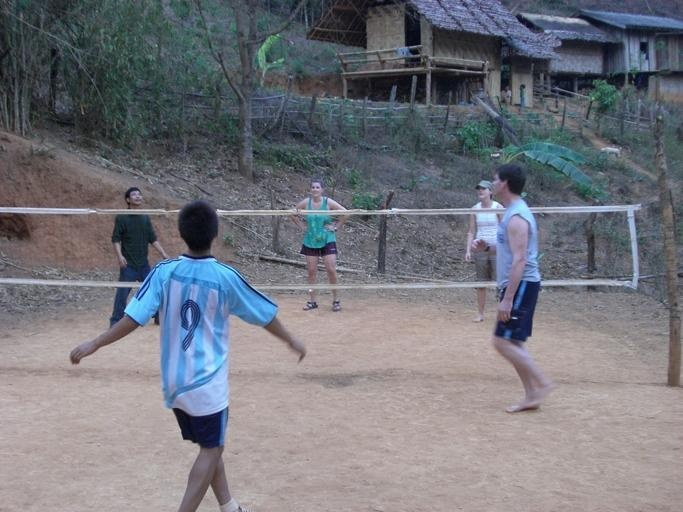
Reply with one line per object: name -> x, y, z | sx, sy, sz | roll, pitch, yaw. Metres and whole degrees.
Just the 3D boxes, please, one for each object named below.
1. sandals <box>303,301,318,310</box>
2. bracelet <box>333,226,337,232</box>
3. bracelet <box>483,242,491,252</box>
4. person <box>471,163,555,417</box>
sandals -> -0.590, 0.932, 17.146 | 0.300, 0.139, 0.120 | 0, 4, -2
bracelet -> -0.128, -0.499, 16.398 | 0.064, 0.066, 0.069 | -5, -2, 23
bracelet -> 2.472, -0.168, 15.696 | 0.137, 0.136, 0.035 | -3, -11, 16
person -> 2.432, 0.439, 12.524 | 0.741, 3.263, 0.874 | 1, 15, 6
